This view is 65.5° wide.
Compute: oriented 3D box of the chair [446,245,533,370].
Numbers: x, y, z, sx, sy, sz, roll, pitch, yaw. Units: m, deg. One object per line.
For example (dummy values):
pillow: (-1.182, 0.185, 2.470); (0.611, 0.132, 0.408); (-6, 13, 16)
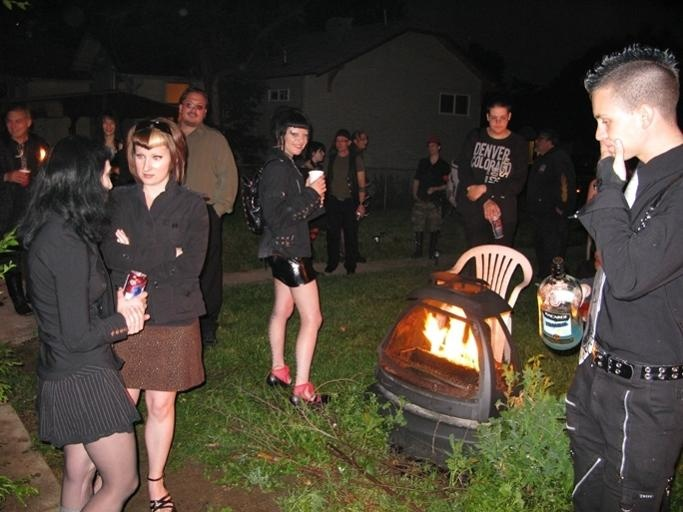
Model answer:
chair: (1.483, 0.368, 5.285); (0.714, 0.896, 1.614); (6, 8, 13)

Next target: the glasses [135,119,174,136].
glasses: (-1.243, -0.853, 3.502); (0.231, 0.108, 0.129); (3, 8, -12)

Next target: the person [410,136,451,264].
person: (1.944, -1.209, 11.362); (0.570, 2.555, 0.850); (-3, 10, -39)

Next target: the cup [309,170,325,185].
cup: (-0.232, -0.687, 4.671); (0.111, 0.118, 0.129); (1, -20, 33)

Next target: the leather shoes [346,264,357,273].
leather shoes: (0.180, 0.242, 10.077); (0.175, 0.171, 0.163); (1, 1, 1)

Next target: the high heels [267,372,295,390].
high heels: (-0.583, 1.198, 5.109); (0.238, 0.103, 0.115); (13, 24, -2)

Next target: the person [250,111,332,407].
person: (-0.435, 0.029, 4.717); (0.664, 2.609, 0.618); (2, 8, -13)

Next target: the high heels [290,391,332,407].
high heels: (-0.268, 1.311, 4.839); (0.382, 0.117, 0.137); (0, 5, -20)
